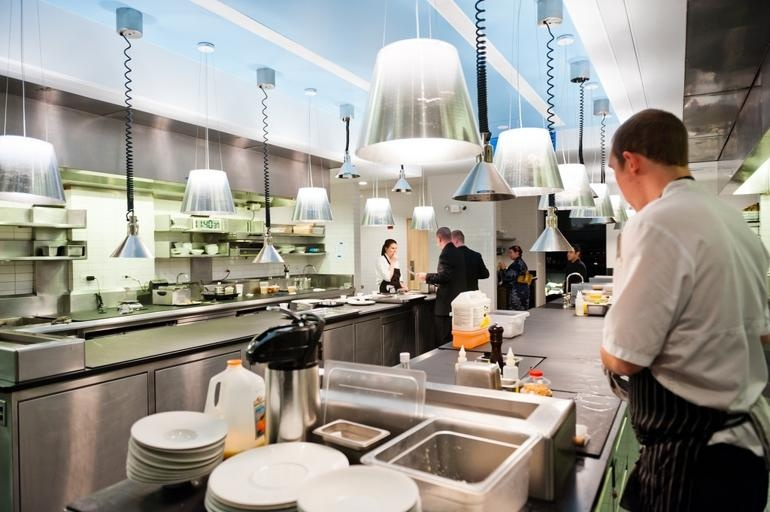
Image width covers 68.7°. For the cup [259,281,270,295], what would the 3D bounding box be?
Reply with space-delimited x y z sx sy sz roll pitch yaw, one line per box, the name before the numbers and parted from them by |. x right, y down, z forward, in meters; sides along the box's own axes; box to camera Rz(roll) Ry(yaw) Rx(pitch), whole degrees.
cup | -1.839 0.483 8.654 0.179 0.184 0.174 0 -6 0

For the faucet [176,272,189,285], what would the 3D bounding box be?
faucet | -2.903 0.326 8.073 0.145 0.166 0.181 -5 -5 25

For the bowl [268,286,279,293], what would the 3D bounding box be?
bowl | -1.727 0.512 8.755 0.080 0.109 0.247 -2 2 27

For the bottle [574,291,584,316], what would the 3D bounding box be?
bottle | 2.124 0.512 6.171 0.098 0.235 0.252 -2 2 19

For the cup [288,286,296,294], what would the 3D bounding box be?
cup | -1.468 0.535 8.838 0.096 0.099 0.116 0 -13 -5
